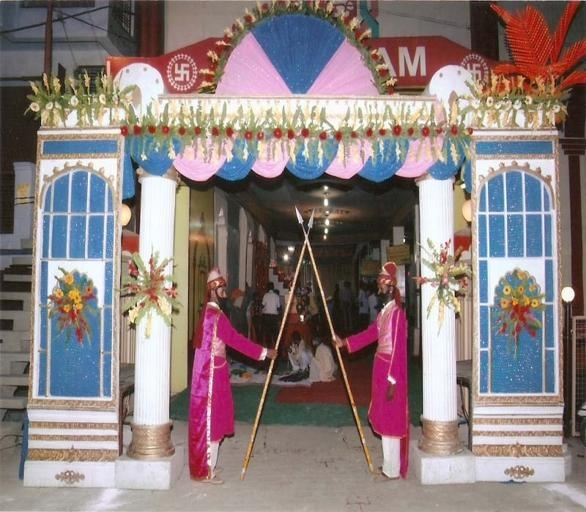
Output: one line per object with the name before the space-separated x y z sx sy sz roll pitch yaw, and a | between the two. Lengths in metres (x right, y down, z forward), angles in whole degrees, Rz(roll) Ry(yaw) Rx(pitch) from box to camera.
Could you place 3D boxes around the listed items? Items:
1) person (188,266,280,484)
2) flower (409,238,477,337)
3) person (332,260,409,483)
person | -0.843 1.400 10.590 0.806 2.324 0.529 -3 8 -20
flower | 1.767 0.326 10.674 0.599 1.044 0.630 2 8 13
person | 1.112 1.305 10.649 0.548 2.445 0.773 -2 8 -16
